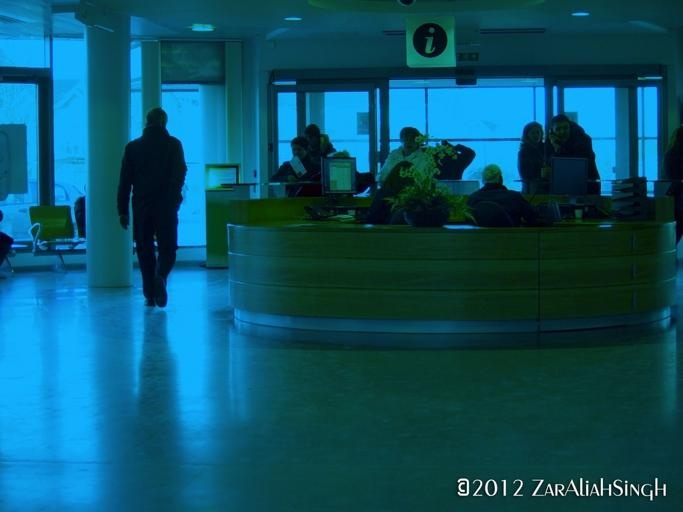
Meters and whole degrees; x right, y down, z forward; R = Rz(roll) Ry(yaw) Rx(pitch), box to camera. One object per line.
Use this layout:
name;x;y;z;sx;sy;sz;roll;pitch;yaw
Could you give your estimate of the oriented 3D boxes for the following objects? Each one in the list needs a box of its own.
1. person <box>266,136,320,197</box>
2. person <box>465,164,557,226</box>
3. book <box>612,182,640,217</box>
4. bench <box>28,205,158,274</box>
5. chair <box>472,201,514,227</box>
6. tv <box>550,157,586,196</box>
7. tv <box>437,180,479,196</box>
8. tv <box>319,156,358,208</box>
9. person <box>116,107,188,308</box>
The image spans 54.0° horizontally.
person;-0.568;-1.136;8.373;0.602;0.760;0.993;-2;6;-12
person;1.500;-0.614;6.303;0.929;0.618;0.566;7;36;28
book;2.922;-0.591;6.901;0.321;0.403;0.313;-2;4;-34
bench;-4.548;-0.293;11.301;1.108;1.341;1.076;-2;3;-41
chair;1.355;-0.385;6.065;0.362;0.226;0.121;0;6;12
tv;2.363;-0.844;7.033;0.422;0.385;0.226;0;1;1
tv;1.241;-0.736;7.215;0.336;0.172;0.022;-4;15;-13
tv;-0.085;-0.866;7.611;0.512;0.564;0.345;-5;7;-33
person;-2.125;-0.524;7.476;0.705;2.229;0.646;-1;6;0
